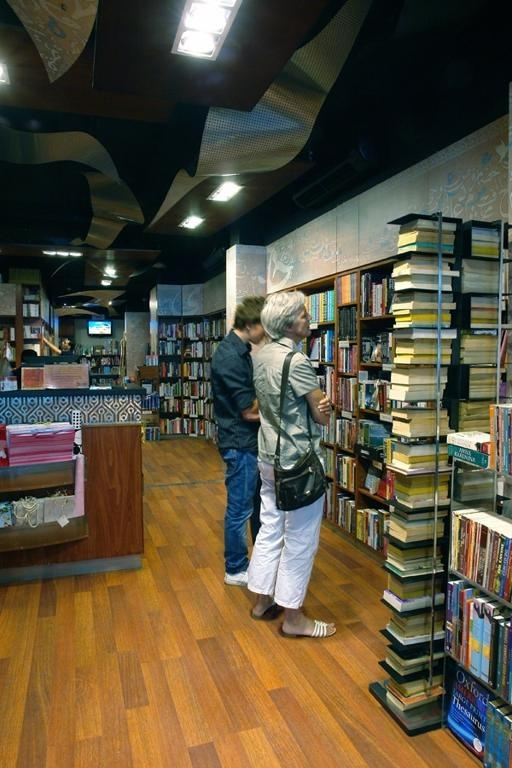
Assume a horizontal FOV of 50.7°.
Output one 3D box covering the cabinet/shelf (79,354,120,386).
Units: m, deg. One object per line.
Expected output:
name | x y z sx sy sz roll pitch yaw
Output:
cabinet/shelf | -3.787 -0.368 13.259 0.839 0.845 0.261 1 0 -8

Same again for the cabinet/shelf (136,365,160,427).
cabinet/shelf | -1.491 0.171 7.561 0.286 0.942 0.935 0 -1 -8

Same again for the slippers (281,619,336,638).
slippers | 0.244 1.122 2.474 0.190 0.059 0.096 -3 4 4

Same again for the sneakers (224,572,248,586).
sneakers | -0.107 1.083 3.030 0.155 0.076 0.061 2 5 -14

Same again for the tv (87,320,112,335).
tv | -4.773 -1.711 16.535 0.432 0.395 0.105 1 -5 -6

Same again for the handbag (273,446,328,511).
handbag | 0.178 0.380 2.194 0.195 0.214 0.112 -28 15 -22

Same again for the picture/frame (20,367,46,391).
picture/frame | -1.288 -0.033 3.110 0.125 0.129 0.030 -7 9 -22
